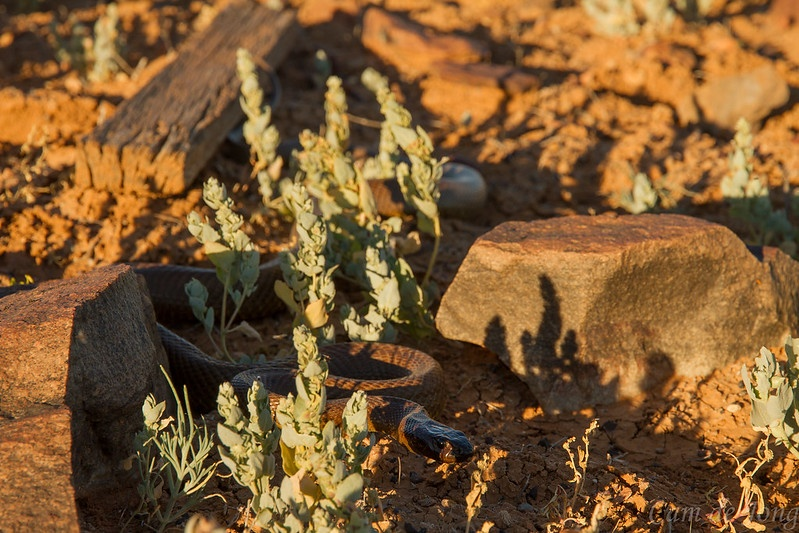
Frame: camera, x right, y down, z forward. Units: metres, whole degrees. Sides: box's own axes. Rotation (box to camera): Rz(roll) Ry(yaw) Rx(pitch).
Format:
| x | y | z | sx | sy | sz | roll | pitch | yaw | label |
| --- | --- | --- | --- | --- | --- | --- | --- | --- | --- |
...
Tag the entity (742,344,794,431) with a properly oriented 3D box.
| x | y | z | sx | sy | sz | roll | pitch | yaw | label |
| --- | --- | --- | --- | --- | --- | --- | --- | --- | --- |
| 2.828 | 0.972 | 9.508 | 0.435 | 0.640 | 0.263 | 3 | 17 | 23 | entity |
